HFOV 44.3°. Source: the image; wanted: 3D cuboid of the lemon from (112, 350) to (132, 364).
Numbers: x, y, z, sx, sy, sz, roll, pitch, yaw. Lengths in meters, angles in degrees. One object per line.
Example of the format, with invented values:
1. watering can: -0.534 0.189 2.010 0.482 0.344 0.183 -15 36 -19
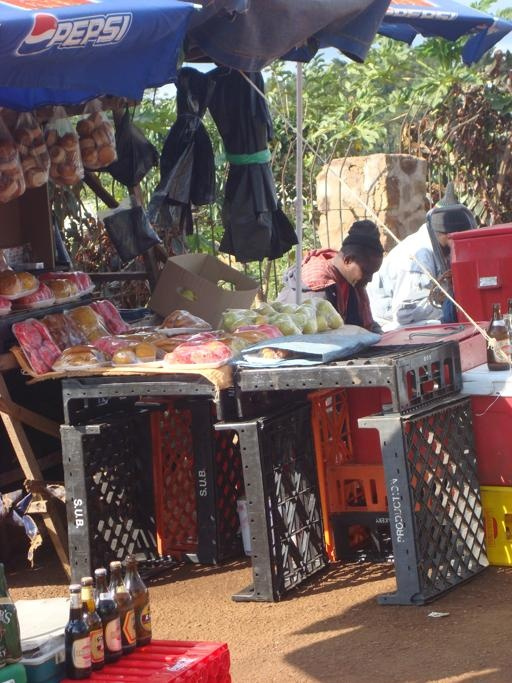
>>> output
1. lemon: -0.617 0.065 2.872 0.073 0.039 0.072 0 3 28
